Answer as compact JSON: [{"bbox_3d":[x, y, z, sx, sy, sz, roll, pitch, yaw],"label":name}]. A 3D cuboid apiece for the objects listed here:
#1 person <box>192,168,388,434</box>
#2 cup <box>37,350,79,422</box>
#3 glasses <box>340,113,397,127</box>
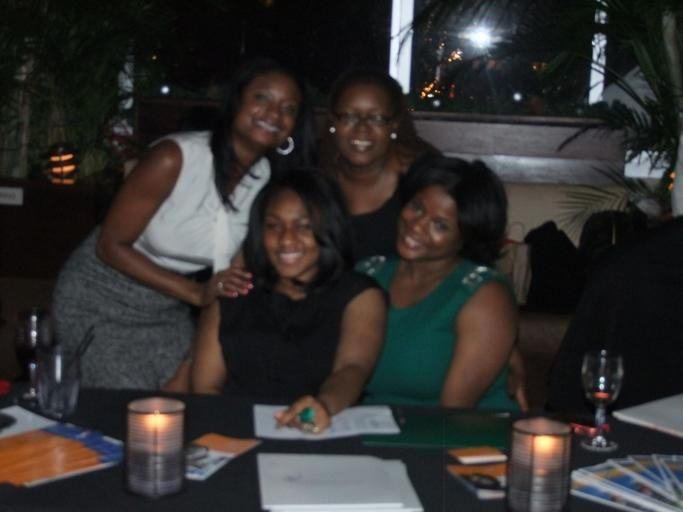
[{"bbox_3d":[-0.156,0.145,1.806,0.601,0.739,0.547,9,13,35],"label":"person"},{"bbox_3d":[-0.641,0.288,1.367,0.091,0.133,0.098,-2,-9,0],"label":"cup"},{"bbox_3d":[0.100,-0.563,2.539,0.231,0.054,0.048,1,9,-3],"label":"glasses"}]
